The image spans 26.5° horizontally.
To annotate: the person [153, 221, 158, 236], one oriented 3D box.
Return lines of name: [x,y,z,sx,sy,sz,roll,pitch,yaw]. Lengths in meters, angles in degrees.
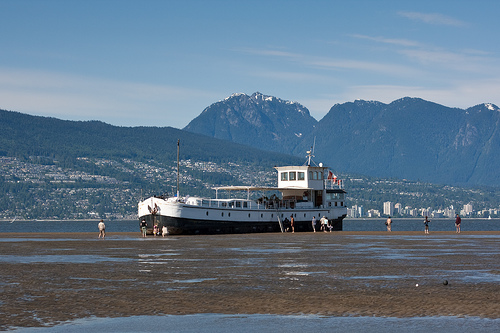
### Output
person: [-13.463,8.825,150.960,0.536,1.911,1.339,7,6,-5]

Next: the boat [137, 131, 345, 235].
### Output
boat: [0.683,4.156,162.185,37.240,12.708,9.081,0,-5,-39]

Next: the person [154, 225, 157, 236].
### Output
person: [-13.495,9.073,150.788,0.474,1.406,0.957,8,6,4]

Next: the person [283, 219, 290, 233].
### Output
person: [5.468,8.899,161.162,1.115,1.660,0.410,3,0,-21]

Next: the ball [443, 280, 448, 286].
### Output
ball: [19.235,11.453,104.705,0.346,0.403,0.396,-1,-8,12]

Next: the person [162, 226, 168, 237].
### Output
person: [-12.169,9.120,151.411,1.012,1.356,0.591,8,6,12]

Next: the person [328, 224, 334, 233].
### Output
person: [12.510,9.553,165.634,1.366,1.354,0.350,1,12,13]

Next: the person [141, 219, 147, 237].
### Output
person: [-15.266,8.648,153.253,0.906,2.226,1.587,6,6,-17]
